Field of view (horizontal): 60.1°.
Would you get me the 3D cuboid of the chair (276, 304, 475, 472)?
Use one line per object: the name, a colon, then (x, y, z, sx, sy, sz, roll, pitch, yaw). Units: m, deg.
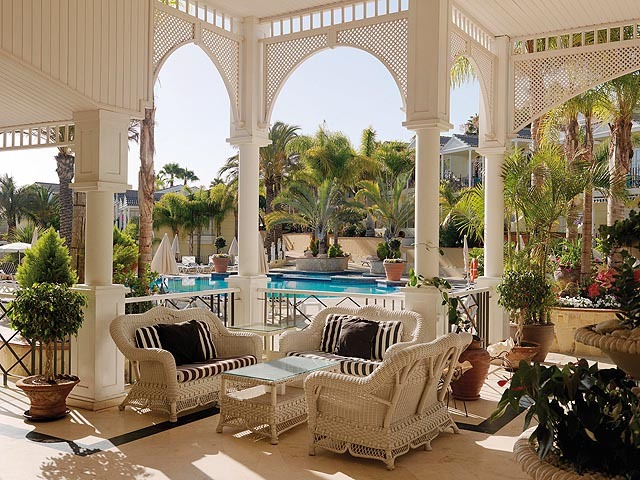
chair: (0.585, 1.257, 4.907, 1.219, 0.868, 1.260, -5, -8, 41)

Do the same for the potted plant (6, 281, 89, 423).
potted plant: (-2.652, 1.068, 5.480, 0.665, 1.345, 0.706, -6, 10, -33)
